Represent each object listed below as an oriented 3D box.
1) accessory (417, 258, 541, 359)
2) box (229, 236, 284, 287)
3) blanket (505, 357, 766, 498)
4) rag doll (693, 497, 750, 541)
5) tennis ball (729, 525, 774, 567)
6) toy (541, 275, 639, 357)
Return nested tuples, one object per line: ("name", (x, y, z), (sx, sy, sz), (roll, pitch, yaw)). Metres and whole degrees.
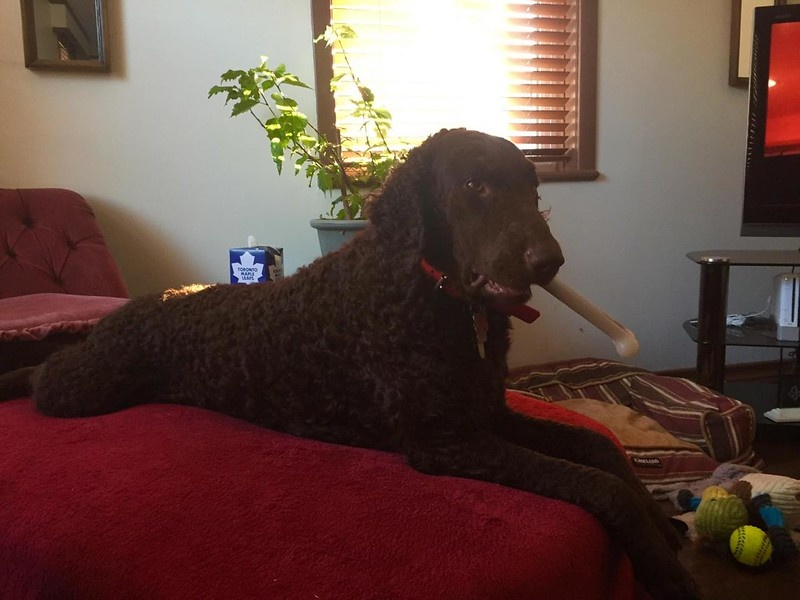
("accessory", (0.117, 0.008, 0.773), (0.143, 0.038, 0.141), (15, 23, -8))
("box", (-0.462, -0.100, 1.901), (0.177, 0.131, 0.184), (1, 2, 37))
("blanket", (0.762, 0.326, 1.759), (0.374, 0.145, 0.463), (1, 10, -12))
("rag doll", (0.642, 0.431, 1.161), (0.096, 0.084, 0.078), (-7, 15, -10))
("tennis ball", (0.688, 0.480, 1.135), (0.069, 0.072, 0.068), (-12, 6, 1))
("toy", (0.244, 0.020, 0.798), (0.162, 0.044, 0.034), (38, -1, 14))
